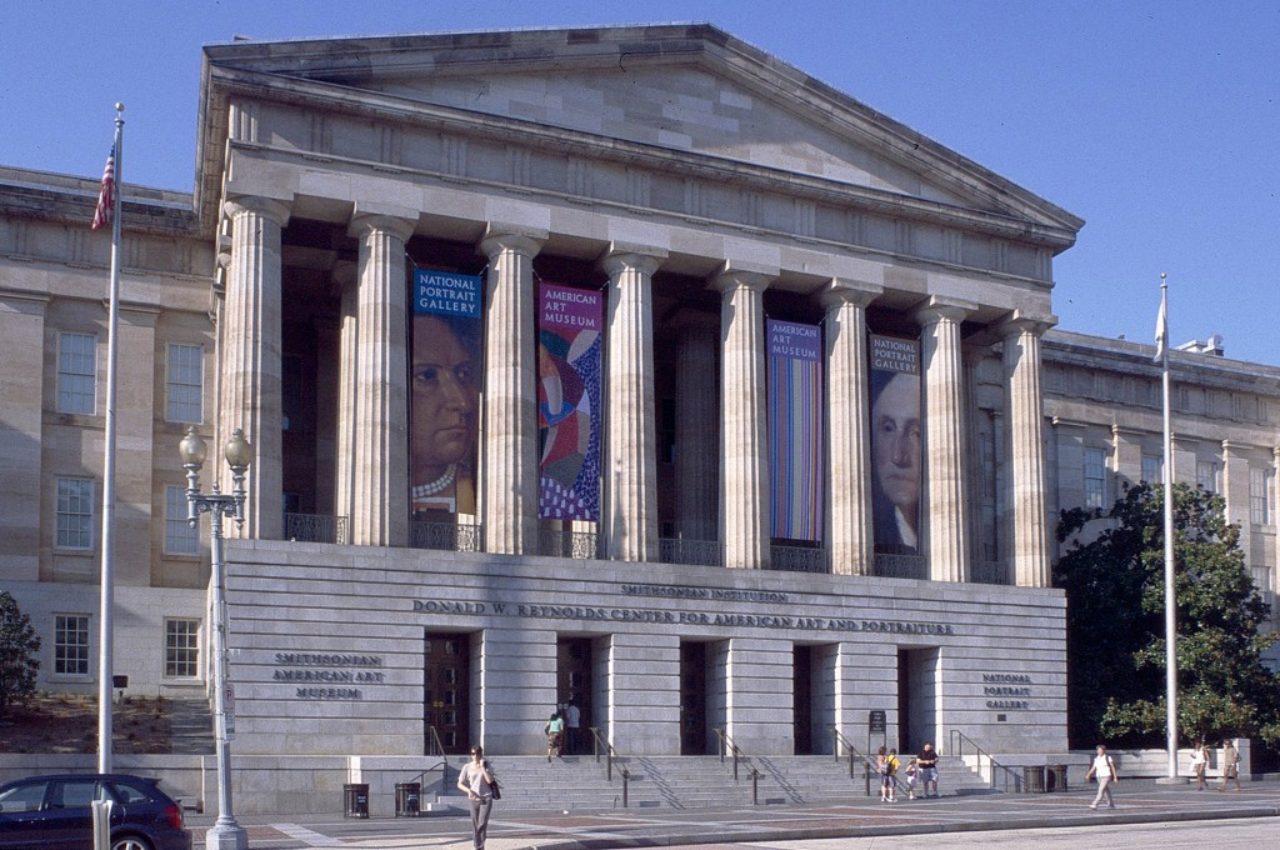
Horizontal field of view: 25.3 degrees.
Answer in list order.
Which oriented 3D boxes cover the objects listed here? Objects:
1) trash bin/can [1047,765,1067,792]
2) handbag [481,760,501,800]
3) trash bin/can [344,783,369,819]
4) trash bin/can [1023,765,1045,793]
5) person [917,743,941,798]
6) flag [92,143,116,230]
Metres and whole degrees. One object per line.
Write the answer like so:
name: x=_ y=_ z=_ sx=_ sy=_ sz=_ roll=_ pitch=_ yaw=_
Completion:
trash bin/can: x=16.372 y=13.999 z=113.077 sx=0.940 sy=0.948 sz=1.040 roll=0 pitch=-7 yaw=12
handbag: x=-5.085 y=11.874 z=94.175 sx=0.628 sy=1.445 sz=0.980 roll=-12 pitch=2 yaw=2
trash bin/can: x=-10.571 y=13.740 z=104.131 sx=1.181 sy=1.348 sz=1.106 roll=1 pitch=-11 yaw=-5
trash bin/can: x=15.534 y=13.941 z=112.713 sx=0.813 sy=1.010 sz=0.347 roll=0 pitch=-12 yaw=1
person: x=10.981 y=13.393 z=110.033 sx=0.761 sy=1.865 sz=1.464 roll=0 pitch=-12 yaw=6
flag: x=-19.704 y=-8.636 z=103.872 sx=0.655 sy=2.568 sz=2.099 roll=4 pitch=-12 yaw=-14
